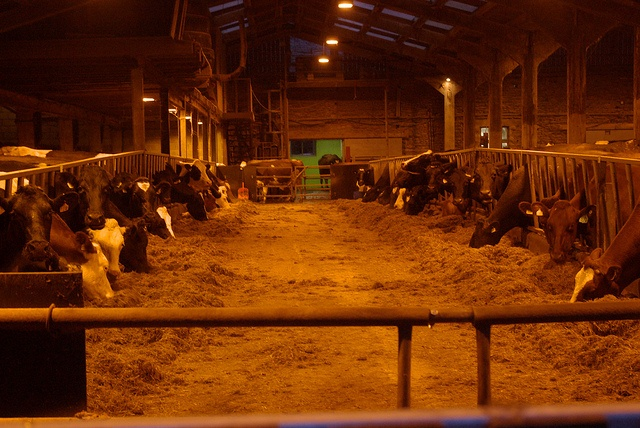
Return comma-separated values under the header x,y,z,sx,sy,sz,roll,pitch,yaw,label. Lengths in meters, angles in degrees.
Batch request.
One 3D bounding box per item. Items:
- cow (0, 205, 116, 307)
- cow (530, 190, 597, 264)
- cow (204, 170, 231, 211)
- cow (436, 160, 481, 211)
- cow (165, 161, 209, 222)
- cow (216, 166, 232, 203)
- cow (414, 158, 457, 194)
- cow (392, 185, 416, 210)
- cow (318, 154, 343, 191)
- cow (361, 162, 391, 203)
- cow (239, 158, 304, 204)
x,y,z,sx,sy,sz,roll,pitch,yaw,label
-2.545,0.468,6.951,1.435,0.784,0.563,21,19,35,cow
2.779,0.167,7.455,0.392,0.485,1.054,-2,14,24,cow
-2.623,-0.572,16.524,0.450,0.325,0.944,23,-1,2,cow
2.523,-0.583,12.025,0.668,0.930,1.700,-1,15,14,cow
-2.771,-0.549,13.279,0.487,0.843,1.537,-6,22,-34,cow
-2.753,-0.824,18.531,0.260,1.066,0.256,-17,32,-5,cow
2.311,-0.632,13.028,0.480,0.941,1.693,2,0,21,cow
1.772,-0.353,13.957,0.273,0.165,0.507,27,-25,3,cow
0.469,-2.106,27.986,0.521,1.684,1.928,-1,-1,-19,cow
1.492,-0.816,17.447,0.767,0.969,0.817,-1,7,-16,cow
-1.505,-1.143,22.269,1.965,1.402,1.245,-2,-3,-13,cow
